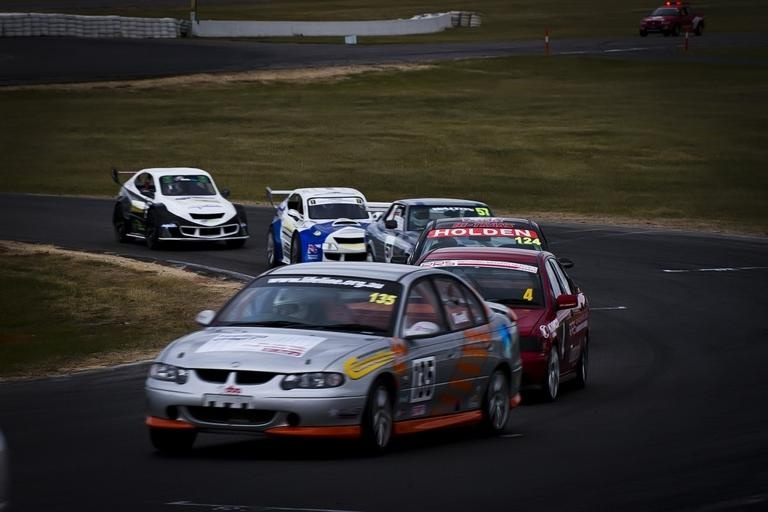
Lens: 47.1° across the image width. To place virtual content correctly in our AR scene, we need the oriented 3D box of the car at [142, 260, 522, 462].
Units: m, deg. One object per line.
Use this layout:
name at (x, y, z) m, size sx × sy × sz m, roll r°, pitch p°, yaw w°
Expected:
car at (-0.440, 0.700, 9.302) m, size 2.502 × 1.061 × 3.761 m, roll 8°, pitch 16°, yaw 28°

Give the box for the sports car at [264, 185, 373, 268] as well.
sports car at (-1.262, -0.764, 21.125) m, size 2.505 × 1.240 × 3.736 m, roll -6°, pitch 13°, yaw -18°

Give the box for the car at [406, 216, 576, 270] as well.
car at (1.882, -0.210, 15.387) m, size 2.447 × 0.747 × 3.171 m, roll 4°, pitch 5°, yaw 19°

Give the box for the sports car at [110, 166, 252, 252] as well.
sports car at (-5.574, -1.272, 23.744) m, size 2.645 × 2.037 × 2.861 m, roll -6°, pitch 10°, yaw -32°
